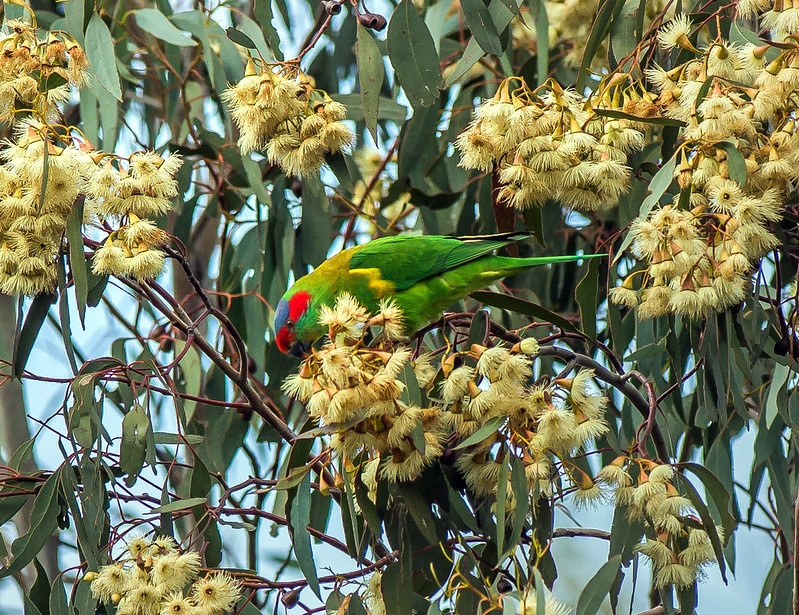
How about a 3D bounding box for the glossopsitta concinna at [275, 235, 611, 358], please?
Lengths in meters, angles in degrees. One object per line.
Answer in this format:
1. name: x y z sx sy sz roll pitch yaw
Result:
1. glossopsitta concinna: 0.009 -0.061 6.151 1.022 0.593 0.240 6 20 11
